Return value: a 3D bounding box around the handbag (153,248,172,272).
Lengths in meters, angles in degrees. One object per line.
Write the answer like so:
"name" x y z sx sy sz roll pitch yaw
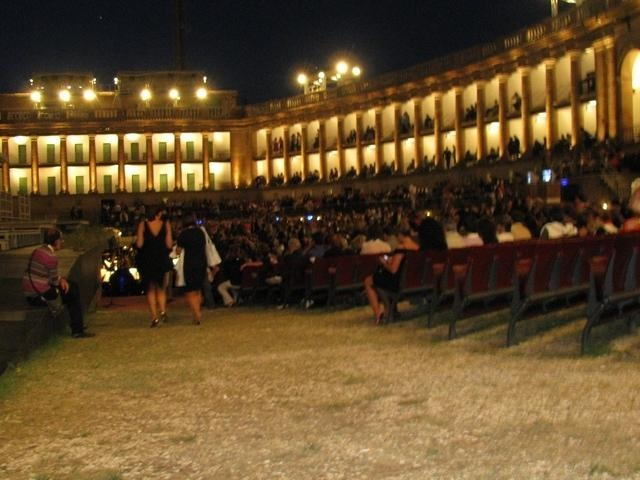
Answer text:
"handbag" -2.662 0.339 11.542 0.318 0.330 0.579 5 -10 -10

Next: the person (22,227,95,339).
"person" -4.179 0.699 10.821 0.840 1.815 1.525 -3 5 -2

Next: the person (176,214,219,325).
"person" -2.301 0.463 12.070 0.602 2.000 0.614 12 20 31

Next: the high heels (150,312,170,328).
"high heels" -2.891 1.412 12.167 0.165 0.214 0.497 0 0 -17

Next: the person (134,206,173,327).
"person" -2.907 0.477 11.954 0.623 2.154 1.123 -4 5 -13
